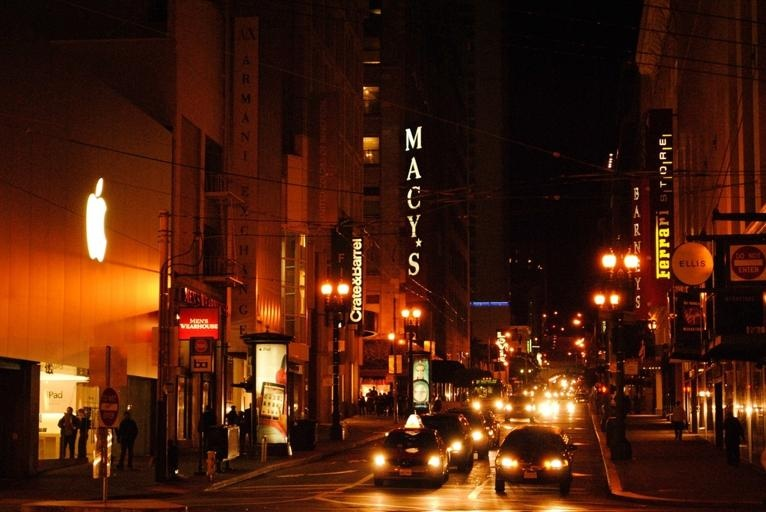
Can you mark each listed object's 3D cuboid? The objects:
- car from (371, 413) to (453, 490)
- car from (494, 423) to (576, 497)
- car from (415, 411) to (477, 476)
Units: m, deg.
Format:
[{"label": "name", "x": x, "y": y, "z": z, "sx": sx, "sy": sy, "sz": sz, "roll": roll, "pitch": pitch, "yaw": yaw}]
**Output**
[{"label": "car", "x": 1.283, "y": 8.344, "z": 54.915, "sx": 2.899, "sy": 2.617, "sz": 5.996, "roll": 0, "pitch": -4, "yaw": 5}, {"label": "car", "x": 6.355, "y": 8.174, "z": 53.505, "sx": 3.047, "sy": 2.339, "sz": 5.487, "roll": 0, "pitch": 3, "yaw": 11}, {"label": "car", "x": 3.187, "y": 8.378, "z": 58.016, "sx": 2.425, "sy": 2.304, "sz": 4.518, "roll": 0, "pitch": -43, "yaw": 2}]
